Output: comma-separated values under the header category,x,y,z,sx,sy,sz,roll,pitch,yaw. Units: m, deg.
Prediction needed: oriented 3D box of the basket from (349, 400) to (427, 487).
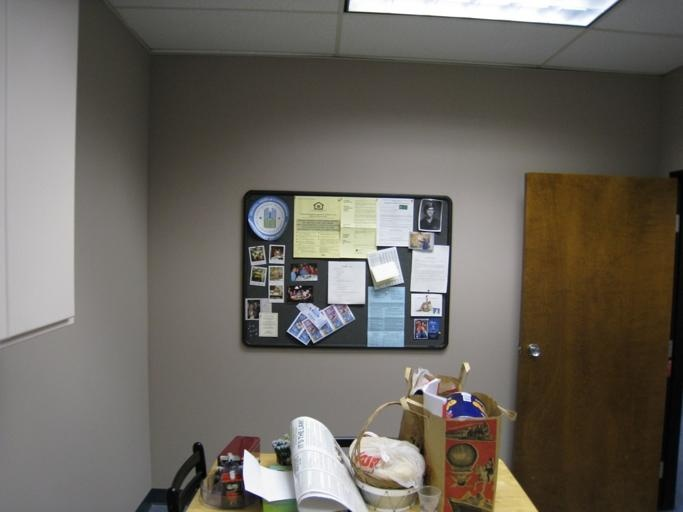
category,x,y,z,sx,sy,sz,roll,pitch,yaw
basket,0.218,0.775,2.448,0.339,0.361,0.347,7,-6,16

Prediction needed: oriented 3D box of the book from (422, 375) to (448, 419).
category,x,y,z,sx,sy,sz,roll,pitch,yaw
book,0.393,0.570,2.356,0.091,0.140,0.185,-2,15,-6
